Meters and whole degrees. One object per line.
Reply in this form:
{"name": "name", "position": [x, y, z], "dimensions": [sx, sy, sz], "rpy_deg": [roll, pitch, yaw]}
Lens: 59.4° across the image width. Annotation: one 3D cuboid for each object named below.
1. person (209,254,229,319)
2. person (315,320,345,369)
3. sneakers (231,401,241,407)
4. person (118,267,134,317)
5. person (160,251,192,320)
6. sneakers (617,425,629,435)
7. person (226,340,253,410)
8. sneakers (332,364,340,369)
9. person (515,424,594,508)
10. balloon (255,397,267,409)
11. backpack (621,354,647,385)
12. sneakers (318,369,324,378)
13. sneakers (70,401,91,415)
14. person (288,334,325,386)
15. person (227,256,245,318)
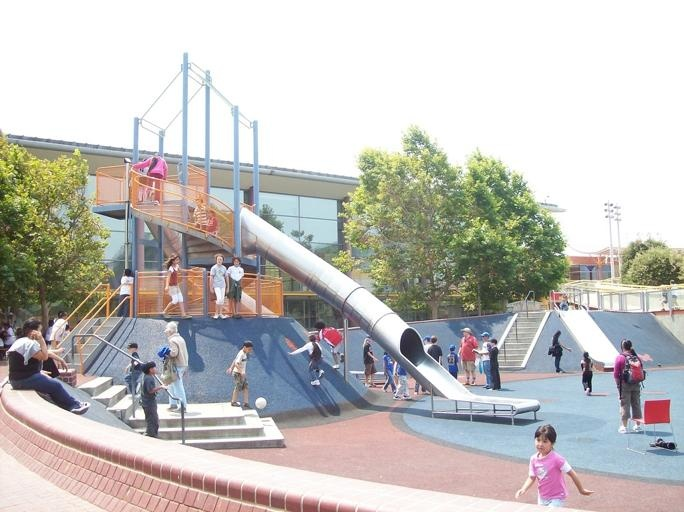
{"name": "person", "position": [-3.674, 0.905, 17.723], "dimensions": [0.511, 1.889, 0.826], "rpy_deg": [0, -2, -13]}
{"name": "person", "position": [-0.501, 3.074, 20.892], "dimensions": [1.200, 1.781, 0.785], "rpy_deg": [-8, 3, 44]}
{"name": "sneakers", "position": [-2.657, 3.712, 15.012], "dimensions": [0.313, 0.141, 0.108], "rpy_deg": [-13, -11, 40]}
{"name": "person", "position": [-6.796, 1.139, 18.867], "dimensions": [0.410, 1.530, 1.421], "rpy_deg": [0, -2, -20]}
{"name": "person", "position": [-4.827, 0.885, 17.388], "dimensions": [0.658, 1.778, 1.003], "rpy_deg": [0, -2, -18]}
{"name": "sneakers", "position": [6.115, 3.802, 13.027], "dimensions": [0.127, 0.151, 0.215], "rpy_deg": [1, 3, 12]}
{"name": "person", "position": [-2.675, 3.052, 15.536], "dimensions": [0.567, 1.732, 1.406], "rpy_deg": [0, -2, -11]}
{"name": "sneakers", "position": [-0.186, 3.565, 19.235], "dimensions": [0.264, 0.177, 0.431], "rpy_deg": [2, -1, 8]}
{"name": "person", "position": [2.693, 2.796, 7.757], "dimensions": [0.713, 1.223, 1.238], "rpy_deg": [-1, -2, 21]}
{"name": "balloon", "position": [-2.040, 3.719, 15.062], "dimensions": [0.348, 0.368, 0.199], "rpy_deg": [-2, 22, -3]}
{"name": "backpack", "position": [6.373, 2.487, 13.067], "dimensions": [0.405, 0.600, 0.470], "rpy_deg": [-1, -2, 30]}
{"name": "sneakers", "position": [-0.606, 3.466, 17.543], "dimensions": [0.170, 0.308, 0.165], "rpy_deg": [2, 8, -8]}
{"name": "sneakers", "position": [-4.879, 2.815, 11.099], "dimensions": [0.201, 0.243, 0.554], "rpy_deg": [4, -25, -34]}
{"name": "person", "position": [-0.990, 3.034, 17.566], "dimensions": [0.939, 1.482, 1.085], "rpy_deg": [0, -2, -3]}
{"name": "person", "position": [-3.216, 0.938, 17.968], "dimensions": [0.455, 1.794, 0.779], "rpy_deg": [0, -2, -10]}
